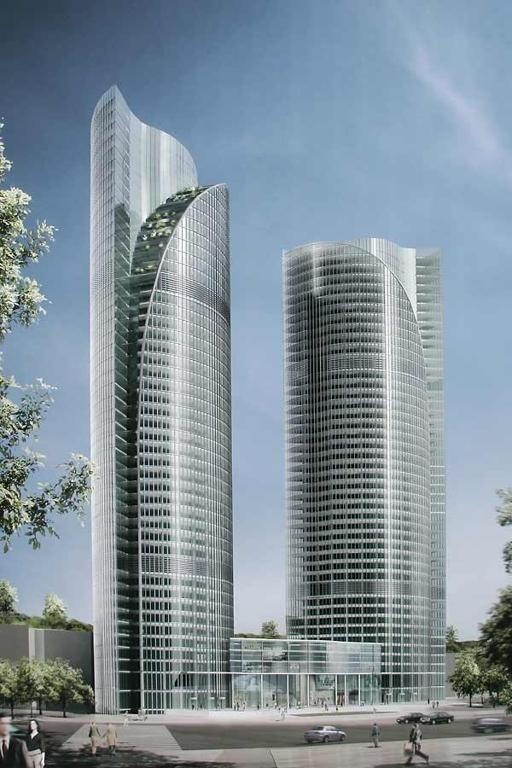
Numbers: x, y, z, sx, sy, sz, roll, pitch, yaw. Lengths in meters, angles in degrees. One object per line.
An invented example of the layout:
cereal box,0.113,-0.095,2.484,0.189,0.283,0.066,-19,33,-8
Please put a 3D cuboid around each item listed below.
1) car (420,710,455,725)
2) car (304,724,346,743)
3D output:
car,18.549,33.801,140.239,3.364,1.041,1.382,6,-13,-22
car,5.520,27.950,110.052,2.602,1.344,4.999,-8,-17,20
